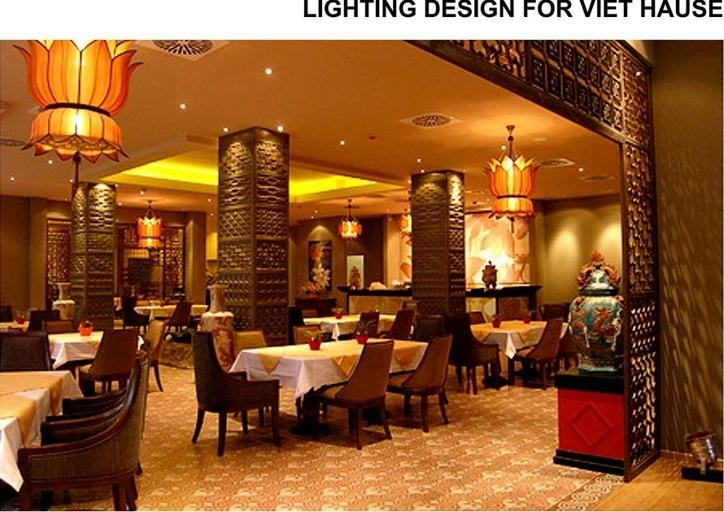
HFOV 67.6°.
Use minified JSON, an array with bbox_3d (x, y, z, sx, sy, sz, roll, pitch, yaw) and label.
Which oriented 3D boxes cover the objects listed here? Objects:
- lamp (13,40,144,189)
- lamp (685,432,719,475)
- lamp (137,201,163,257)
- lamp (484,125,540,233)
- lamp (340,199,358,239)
[{"bbox_3d":[-2.461,-1.220,4.533,1.080,1.186,1.025,6,12,-16],"label":"lamp"},{"bbox_3d":[3.055,1.799,4.905,0.306,0.325,0.297,-10,-28,6],"label":"lamp"},{"bbox_3d":[-6.395,-0.932,16.167,0.625,1.425,0.742,0,1,-27],"label":"lamp"},{"bbox_3d":[2.485,-1.406,9.041,0.857,1.418,0.777,-2,5,20],"label":"lamp"},{"bbox_3d":[-0.416,-1.124,16.538,0.758,1.236,0.757,1,0,15],"label":"lamp"}]
